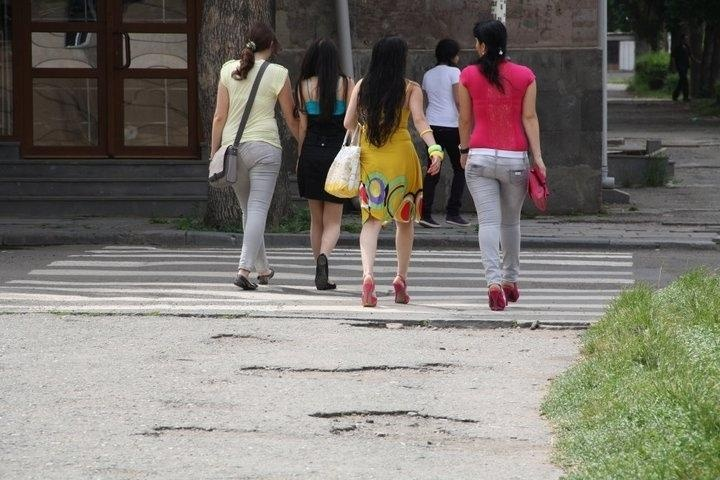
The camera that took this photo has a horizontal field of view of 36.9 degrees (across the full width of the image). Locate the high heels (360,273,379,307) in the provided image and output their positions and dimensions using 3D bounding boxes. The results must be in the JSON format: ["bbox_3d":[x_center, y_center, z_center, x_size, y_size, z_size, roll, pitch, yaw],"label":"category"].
[{"bbox_3d":[0.081,0.472,10.313,0.143,0.331,0.230,-7,13,0],"label":"high heels"}]

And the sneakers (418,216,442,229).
[{"bbox_3d":[1.044,-0.258,15.193,0.435,0.206,0.164,3,1,2],"label":"sneakers"}]

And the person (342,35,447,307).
[{"bbox_3d":[0.391,-0.690,10.461,1.089,2.591,1.230,1,-3,29],"label":"person"}]

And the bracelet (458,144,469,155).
[{"bbox_3d":[1.002,-0.877,10.335,0.084,0.062,0.110,0,4,-17],"label":"bracelet"}]

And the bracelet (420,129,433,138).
[{"bbox_3d":[0.638,-1.033,10.332,0.108,0.071,0.117,-8,13,-3],"label":"bracelet"}]

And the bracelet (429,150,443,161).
[{"bbox_3d":[0.717,-0.805,10.160,0.100,0.070,0.132,0,6,1],"label":"bracelet"}]

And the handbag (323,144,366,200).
[{"bbox_3d":[-0.142,-0.656,10.452,0.226,0.550,0.499,17,-3,-17],"label":"handbag"}]

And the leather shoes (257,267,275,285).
[{"bbox_3d":[-0.983,0.354,11.454,0.099,0.230,0.095,12,-25,26],"label":"leather shoes"}]

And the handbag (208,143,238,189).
[{"bbox_3d":[-1.396,-0.754,10.977,0.321,0.398,0.243,-4,13,10],"label":"handbag"}]

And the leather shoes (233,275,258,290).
[{"bbox_3d":[-1.156,0.436,11.054,0.107,0.111,0.296,2,-13,34],"label":"leather shoes"}]

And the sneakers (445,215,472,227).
[{"bbox_3d":[1.420,-0.285,15.389,0.373,0.155,0.133,7,4,13],"label":"sneakers"}]
